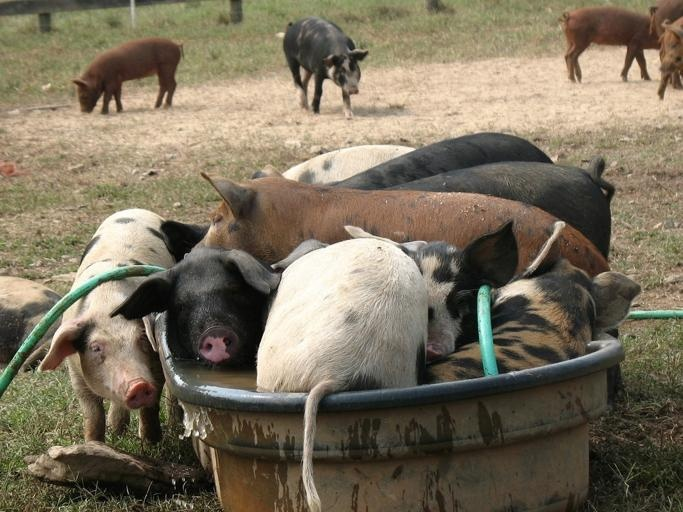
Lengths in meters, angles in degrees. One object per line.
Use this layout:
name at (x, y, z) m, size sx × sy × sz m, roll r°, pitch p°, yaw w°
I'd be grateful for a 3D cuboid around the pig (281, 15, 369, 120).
pig at (-0.271, -2.598, 15.586) m, size 1.161 × 1.517 × 1.277 m, roll -9°, pitch 24°, yaw -19°

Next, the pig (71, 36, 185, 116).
pig at (-2.766, -2.467, 15.818) m, size 1.153 × 1.053 × 1.462 m, roll -14°, pitch 24°, yaw -35°

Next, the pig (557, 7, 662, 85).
pig at (3.581, -2.895, 16.327) m, size 1.189 × 0.955 × 0.713 m, roll 0°, pitch 14°, yaw 13°

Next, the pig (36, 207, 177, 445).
pig at (-1.499, 0.535, 8.384) m, size 0.764 × 1.499 × 2.805 m, roll -4°, pitch 15°, yaw -5°
